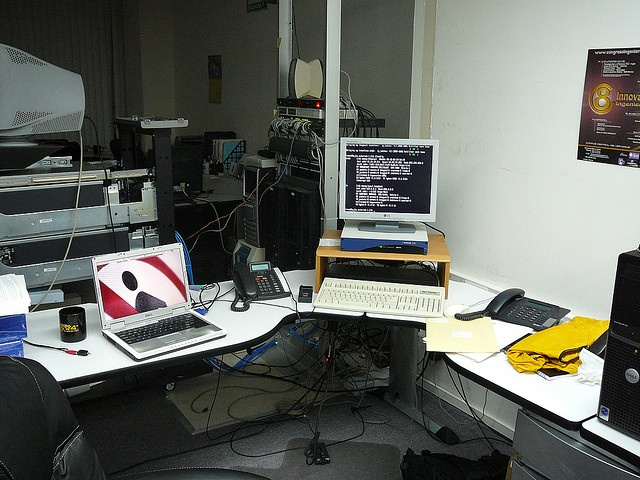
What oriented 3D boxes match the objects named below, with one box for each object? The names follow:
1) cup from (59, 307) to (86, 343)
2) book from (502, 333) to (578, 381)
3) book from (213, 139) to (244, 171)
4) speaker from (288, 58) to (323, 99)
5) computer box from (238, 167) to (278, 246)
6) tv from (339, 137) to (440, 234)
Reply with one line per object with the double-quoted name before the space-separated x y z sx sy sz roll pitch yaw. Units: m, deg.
"cup" -0.994 0.356 1.995 0.095 0.121 0.131 -1 6 -10
"book" 0.839 0.448 1.797 0.144 0.046 0.147 9 18 38
"book" -0.990 -0.914 5.214 0.343 0.309 0.188 -3 16 -13
"speaker" -0.117 -0.966 2.958 0.226 0.278 0.227 -2 13 -11
"computer box" -0.386 -0.242 3.373 0.292 0.564 0.330 0 8 -17
"tv" 0.339 -0.275 2.415 0.455 0.425 0.048 2 11 4
